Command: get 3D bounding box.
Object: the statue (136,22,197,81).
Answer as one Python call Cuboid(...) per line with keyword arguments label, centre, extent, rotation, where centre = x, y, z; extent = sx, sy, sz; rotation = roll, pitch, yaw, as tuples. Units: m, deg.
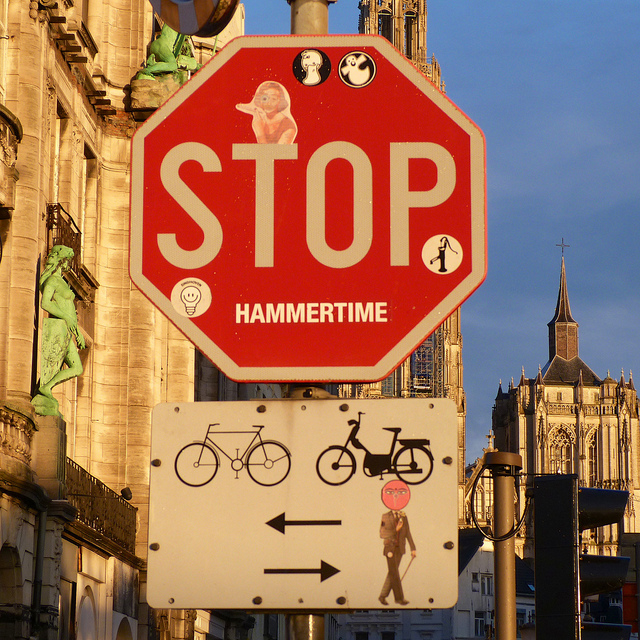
Cuboid(label="statue", centre=(-3.100, -5.550, 49.521), extent=(0.987, 1.543, 0.799), rotation=(-11, 1, -21))
